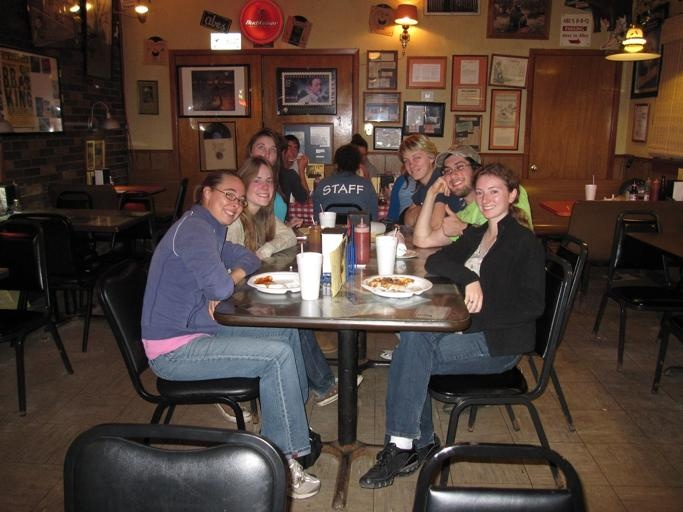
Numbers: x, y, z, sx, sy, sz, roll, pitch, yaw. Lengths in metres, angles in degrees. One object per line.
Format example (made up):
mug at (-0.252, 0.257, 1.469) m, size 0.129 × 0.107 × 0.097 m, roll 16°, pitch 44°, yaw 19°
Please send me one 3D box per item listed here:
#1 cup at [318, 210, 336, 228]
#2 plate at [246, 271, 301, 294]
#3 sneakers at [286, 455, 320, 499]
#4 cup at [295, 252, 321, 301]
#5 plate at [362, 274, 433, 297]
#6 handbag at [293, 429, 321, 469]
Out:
cup at (-0.082, -0.212, 3.136) m, size 0.122 × 0.112 × 0.110 m, roll 2°, pitch 5°, yaw -3°
plate at (-0.306, 0.117, 2.421) m, size 0.224 × 0.044 × 0.303 m, roll -2°, pitch 13°, yaw -9°
sneakers at (-0.167, 1.010, 2.499) m, size 0.123 × 0.228 × 0.203 m, roll 4°, pitch 14°, yaw 13°
cup at (-0.132, 0.084, 2.236) m, size 0.099 × 0.204 × 0.083 m, roll -1°, pitch 14°, yaw -5°
plate at (0.228, 0.132, 2.346) m, size 0.282 × 0.050 × 0.284 m, roll 8°, pitch 15°, yaw 30°
handbag at (-0.134, 0.952, 2.645) m, size 0.129 × 0.147 × 0.168 m, roll -2°, pitch 3°, yaw 16°
